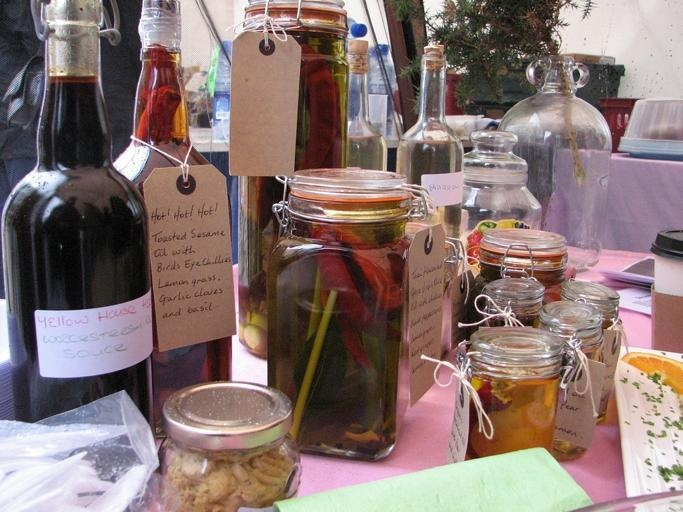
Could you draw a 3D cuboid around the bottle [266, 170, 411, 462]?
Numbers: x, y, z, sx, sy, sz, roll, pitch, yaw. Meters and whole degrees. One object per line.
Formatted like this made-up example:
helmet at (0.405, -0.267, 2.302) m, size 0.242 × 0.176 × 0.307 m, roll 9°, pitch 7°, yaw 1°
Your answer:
bottle at (-0.006, 0.066, 0.646) m, size 0.148 × 0.299 × 0.085 m, roll 3°, pitch 14°, yaw 7°
